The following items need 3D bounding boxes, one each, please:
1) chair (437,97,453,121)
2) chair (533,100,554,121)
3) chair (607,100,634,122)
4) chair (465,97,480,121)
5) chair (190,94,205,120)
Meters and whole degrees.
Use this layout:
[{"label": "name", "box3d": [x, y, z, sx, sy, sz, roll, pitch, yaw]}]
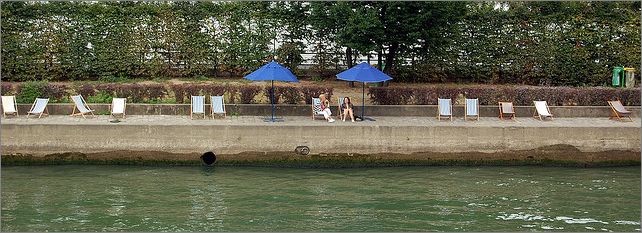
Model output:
[{"label": "chair", "box3d": [14.659, -0.824, 106.298, 1.866, 2.631, 1.268, -4, 0, 4]}, {"label": "chair", "box3d": [26.389, -0.734, 106.658, 2.190, 2.307, 1.530, -3, 0, 16]}, {"label": "chair", "box3d": [35.635, -0.650, 106.733, 2.809, 2.478, 1.724, -3, 0, 5]}, {"label": "chair", "box3d": [17.848, -0.826, 106.383, 1.849, 2.633, 1.464, -4, 0, 7]}, {"label": "chair", "box3d": [-14.601, -1.114, 105.804, 1.810, 2.668, 1.272, -4, 0, -7]}]
